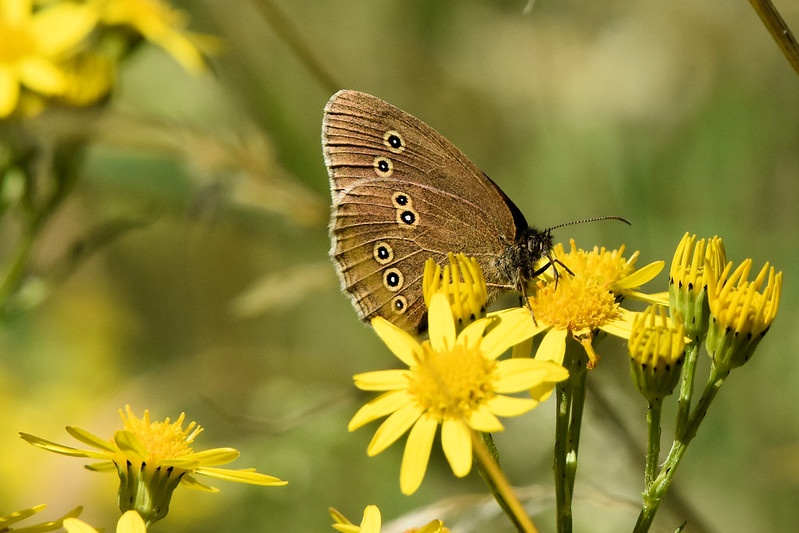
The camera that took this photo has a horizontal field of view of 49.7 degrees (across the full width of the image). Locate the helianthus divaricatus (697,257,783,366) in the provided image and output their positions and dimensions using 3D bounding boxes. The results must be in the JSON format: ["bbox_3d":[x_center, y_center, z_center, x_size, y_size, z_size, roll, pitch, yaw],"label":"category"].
[{"bbox_3d":[0.888,0.110,2.238,0.135,0.340,0.146,1,30,1],"label":"helianthus divaricatus"}]

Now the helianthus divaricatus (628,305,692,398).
[{"bbox_3d":[0.650,0.242,2.185,0.127,0.231,0.146,-2,13,1],"label":"helianthus divaricatus"}]

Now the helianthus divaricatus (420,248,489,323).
[{"bbox_3d":[0.161,0.028,2.287,0.128,0.207,0.194,-16,20,-9],"label":"helianthus divaricatus"}]
